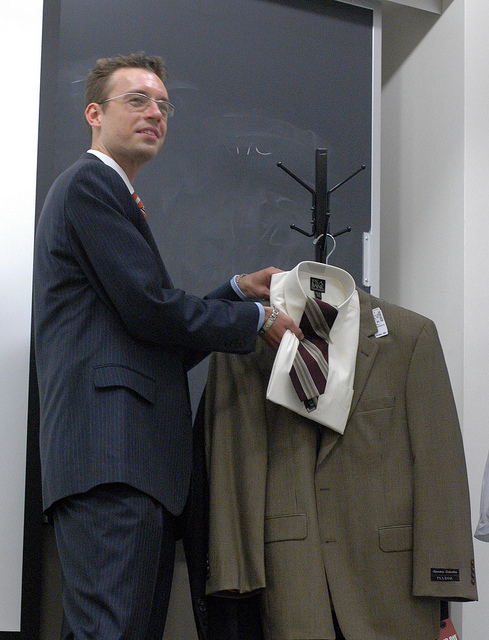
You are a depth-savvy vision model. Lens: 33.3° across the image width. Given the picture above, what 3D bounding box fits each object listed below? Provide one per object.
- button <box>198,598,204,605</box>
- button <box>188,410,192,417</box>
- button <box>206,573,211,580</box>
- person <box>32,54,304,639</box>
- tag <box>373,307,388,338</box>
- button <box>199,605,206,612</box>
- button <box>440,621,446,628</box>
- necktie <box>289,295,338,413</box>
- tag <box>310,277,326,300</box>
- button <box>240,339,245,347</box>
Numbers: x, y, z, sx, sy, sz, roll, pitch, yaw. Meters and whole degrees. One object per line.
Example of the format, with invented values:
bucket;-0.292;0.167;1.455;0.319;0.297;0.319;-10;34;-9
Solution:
button;-0.109;0.708;2.066;0.014;0.016;0.002;1;-1;-25
button;-0.137;0.231;2.033;0.004;0.018;0.030;0;-2;12
button;-0.090;0.634;2.032;0.004;0.021;0.020;4;-19;-13
person;-0.229;0.159;1.910;0.518;1.150;0.370;1;-1;-15
tag;0.359;0.006;2.166;0.038;0.077;0.034;0;-1;10
button;-0.107;0.726;2.065;0.016;0.019;0.005;1;-4;-25
button;0.533;0.816;2.198;0.021;0.015;0.006;2;-2;-40
necktie;0.170;0.088;2.053;0.120;0.377;0.056;18;-41;-11
tag;0.195;-0.089;2.194;0.051;0.074;0.007;3;-4;-31
button;-0.005;0.052;1.964;0.010;0.018;0.004;0;4;-6
